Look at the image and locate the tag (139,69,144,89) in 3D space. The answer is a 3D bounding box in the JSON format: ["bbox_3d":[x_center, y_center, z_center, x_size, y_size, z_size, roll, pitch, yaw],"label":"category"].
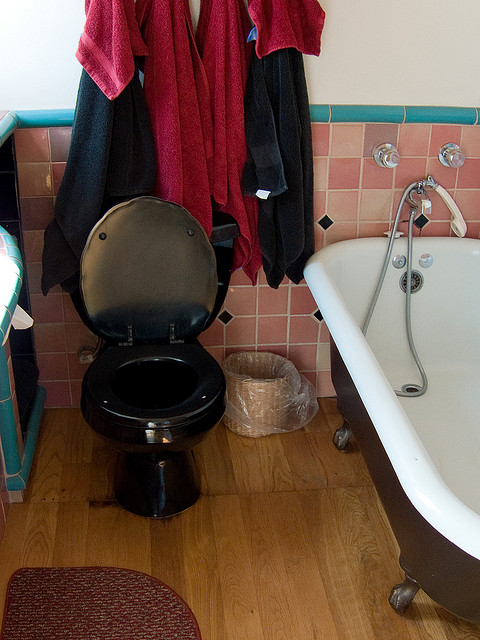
[{"bbox_3d":[-0.266,-0.658,1.416,0.009,0.027,0.018,-4,8,-20],"label":"tag"}]

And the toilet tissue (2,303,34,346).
[{"bbox_3d":[-0.435,0.008,1.011,0.065,0.084,0.025,1,9,-9],"label":"toilet tissue"}]

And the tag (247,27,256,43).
[{"bbox_3d":[0.033,-0.756,1.386,0.029,0.031,0.026,14,48,-6],"label":"tag"}]

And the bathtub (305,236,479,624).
[{"bbox_3d":[0.392,0.251,1.334,0.448,0.357,0.811,-3,36,-4],"label":"bathtub"}]

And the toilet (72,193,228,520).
[{"bbox_3d":[-0.232,0.105,1.387,0.326,0.715,0.624,-1,24,-10],"label":"toilet"}]
